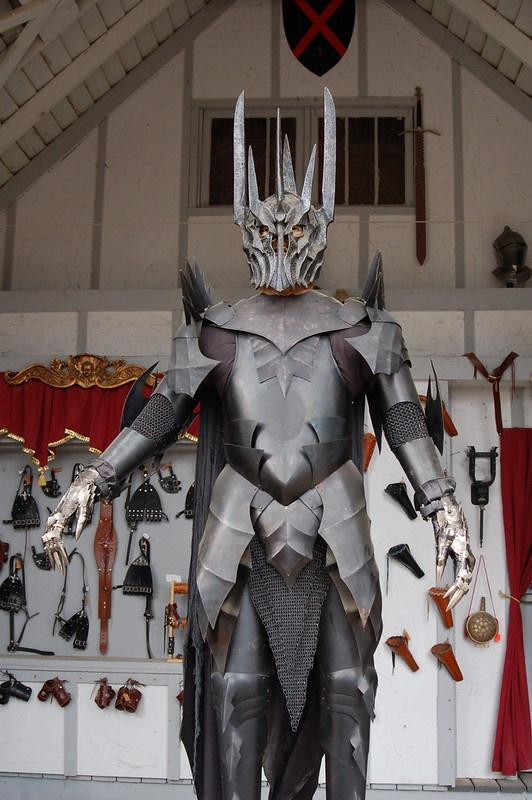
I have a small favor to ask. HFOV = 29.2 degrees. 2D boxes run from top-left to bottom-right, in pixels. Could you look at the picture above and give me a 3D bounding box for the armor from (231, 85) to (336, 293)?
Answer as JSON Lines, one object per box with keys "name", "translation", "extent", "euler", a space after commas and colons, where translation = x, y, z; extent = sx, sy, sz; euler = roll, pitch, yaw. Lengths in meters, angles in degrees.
{"name": "armor", "translation": [0.051, -0.619, 2.964], "extent": [0.301, 0.690, 0.108], "euler": [-1, -16, 6]}
